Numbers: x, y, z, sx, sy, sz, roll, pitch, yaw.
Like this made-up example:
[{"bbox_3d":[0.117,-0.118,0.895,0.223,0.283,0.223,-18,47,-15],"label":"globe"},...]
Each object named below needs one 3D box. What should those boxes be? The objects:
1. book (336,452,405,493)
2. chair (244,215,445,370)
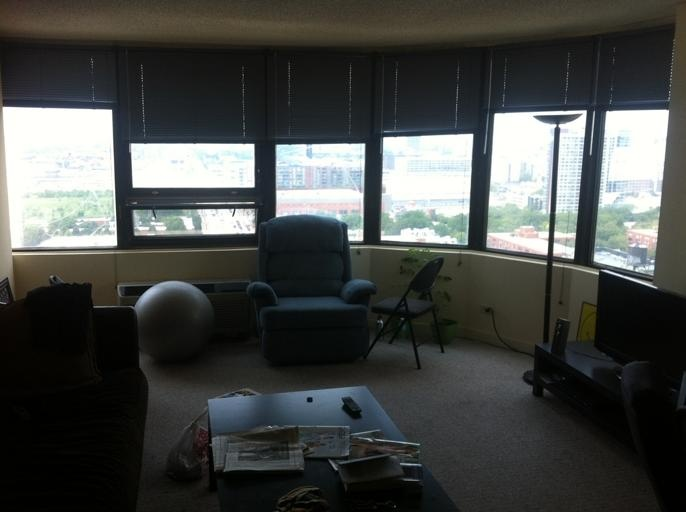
[{"bbox_3d":[0.134,1.086,2.748,0.193,0.068,0.201,-2,3,-10],"label":"book"},{"bbox_3d":[-0.209,0.333,5.785,1.451,1.434,1.656,-1,1,-4],"label":"chair"}]
